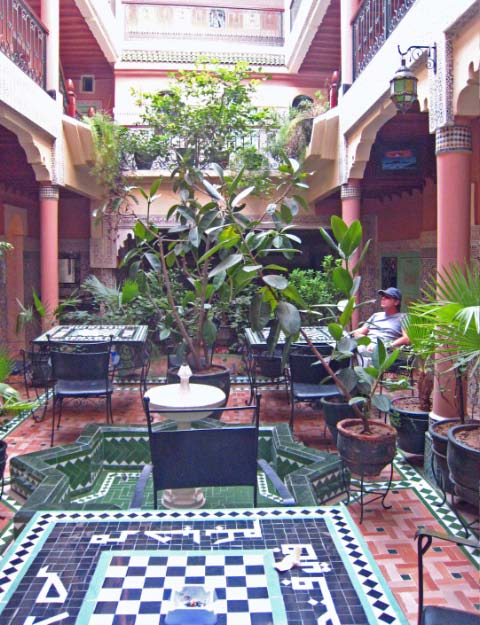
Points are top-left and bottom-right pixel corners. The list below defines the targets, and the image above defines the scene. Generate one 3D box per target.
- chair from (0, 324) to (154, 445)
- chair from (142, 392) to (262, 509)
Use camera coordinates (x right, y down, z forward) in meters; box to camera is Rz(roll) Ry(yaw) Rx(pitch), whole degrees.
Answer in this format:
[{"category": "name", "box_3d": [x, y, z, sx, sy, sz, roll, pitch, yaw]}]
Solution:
[{"category": "chair", "box_3d": [-1.786, 0.759, 6.060, 1.157, 0.818, 1.296, 0, 3, -7]}, {"category": "chair", "box_3d": [-0.169, 0.667, 2.506, 0.519, 0.669, 0.397, -1, 7, 6]}]
